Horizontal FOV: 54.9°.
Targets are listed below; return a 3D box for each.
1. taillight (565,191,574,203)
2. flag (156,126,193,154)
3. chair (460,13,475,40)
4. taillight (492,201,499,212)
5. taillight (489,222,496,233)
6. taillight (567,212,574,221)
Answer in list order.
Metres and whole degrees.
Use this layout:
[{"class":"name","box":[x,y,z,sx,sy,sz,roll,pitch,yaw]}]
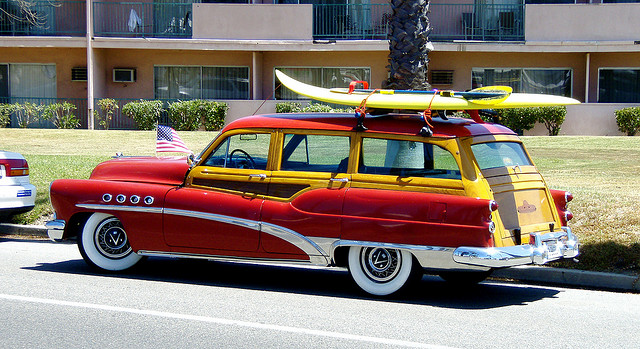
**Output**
[{"class":"taillight","box":[5.409,0.487,13.414,0.124,0.235,0.732,2,6,25]},{"class":"flag","box":[-4.116,-0.925,17.485,1.244,0.866,0.126,2,-2,19]},{"class":"chair","box":[7.324,-7.390,30.497,0.600,1.232,0.442,1,6,9]},{"class":"taillight","box":[3.409,0.631,12.132,0.139,0.130,0.175,-23,22,-39]},{"class":"taillight","box":[3.379,1.054,12.114,0.144,0.214,0.042,-5,7,-38]},{"class":"taillight","box":[5.332,0.909,13.172,0.127,0.085,0.153,-23,-21,29]}]
